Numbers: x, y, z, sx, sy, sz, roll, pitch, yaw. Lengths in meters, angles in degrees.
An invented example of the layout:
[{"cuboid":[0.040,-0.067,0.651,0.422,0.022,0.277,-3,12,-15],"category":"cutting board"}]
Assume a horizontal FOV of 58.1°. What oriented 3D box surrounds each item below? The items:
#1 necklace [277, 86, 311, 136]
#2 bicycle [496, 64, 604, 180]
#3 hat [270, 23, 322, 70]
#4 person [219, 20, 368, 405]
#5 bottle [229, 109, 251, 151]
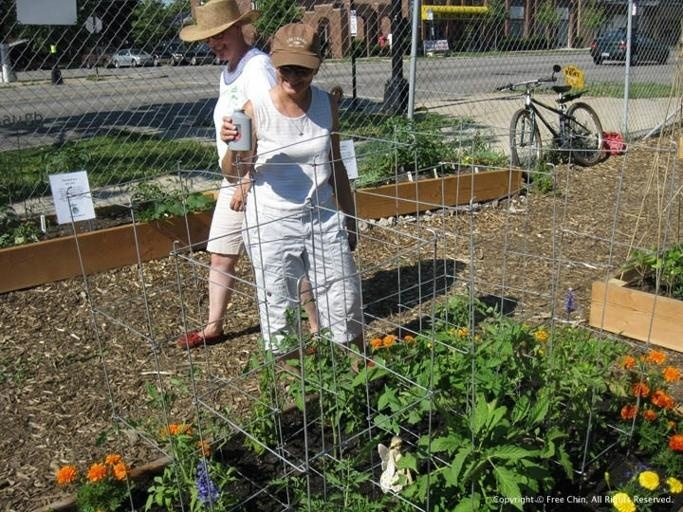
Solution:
[{"cuboid":[-0.281,-0.854,3.516,0.220,0.323,0.172,-8,25,-18],"category":"necklace"},{"cuboid":[2.918,-1.885,8.323,1.345,1.321,3.217,6,21,23],"category":"bicycle"},{"cuboid":[-0.252,-1.166,3.427,0.281,0.254,0.278,-4,18,-5],"category":"hat"},{"cuboid":[-0.278,-0.312,3.562,0.771,1.951,1.034,-2,17,0],"category":"person"},{"cuboid":[-0.564,-0.702,3.422,0.134,0.218,0.088,-5,17,-10],"category":"bottle"}]
